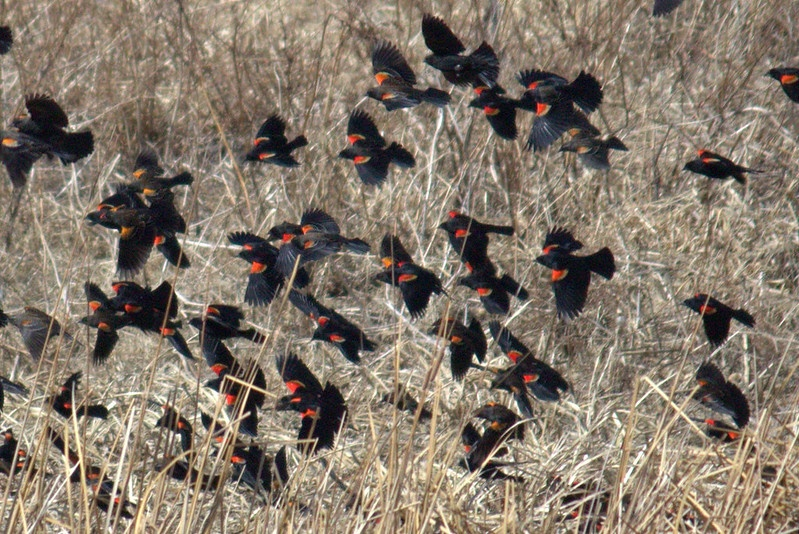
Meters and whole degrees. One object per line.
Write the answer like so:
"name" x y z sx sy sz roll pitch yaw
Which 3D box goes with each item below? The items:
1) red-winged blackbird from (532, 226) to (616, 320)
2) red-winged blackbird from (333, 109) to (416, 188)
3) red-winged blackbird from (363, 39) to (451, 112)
"red-winged blackbird" 0.840 -0.036 6.046 0.383 0.467 0.130 6 38 21
"red-winged blackbird" -0.111 -0.451 6.269 0.327 0.395 0.201 19 57 -19
"red-winged blackbird" 0.029 -0.838 6.210 0.380 0.528 0.273 2 19 -12
